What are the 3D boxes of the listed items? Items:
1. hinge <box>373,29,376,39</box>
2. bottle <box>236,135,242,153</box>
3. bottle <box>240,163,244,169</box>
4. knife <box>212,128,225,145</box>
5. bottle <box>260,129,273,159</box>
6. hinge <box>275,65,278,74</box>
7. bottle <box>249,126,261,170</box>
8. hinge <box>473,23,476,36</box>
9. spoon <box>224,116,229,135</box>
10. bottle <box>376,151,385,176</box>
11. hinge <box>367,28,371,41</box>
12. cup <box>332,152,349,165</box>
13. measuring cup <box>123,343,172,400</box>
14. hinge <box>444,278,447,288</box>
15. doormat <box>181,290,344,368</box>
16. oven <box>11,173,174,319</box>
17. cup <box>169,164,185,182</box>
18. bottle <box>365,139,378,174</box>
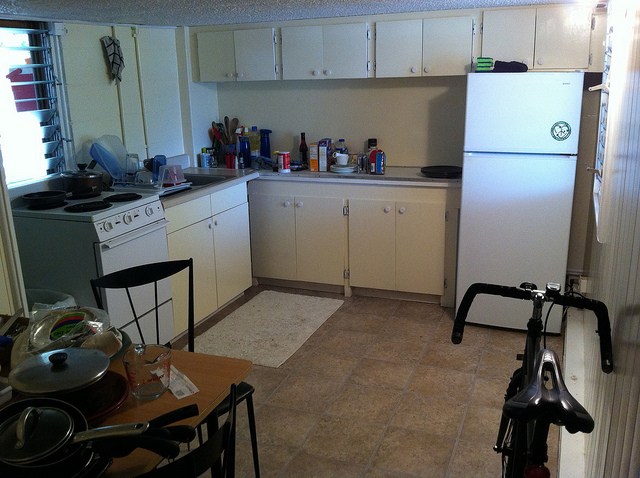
[{"bbox_3d":[0.464,-1.753,4.067,0.006,0.075,0.029,-15,23,-34],"label":"hinge"},{"bbox_3d":[-0.830,-0.988,4.888,0.064,0.175,0.251,-6,20,-13],"label":"bottle"},{"bbox_3d":[-0.770,-0.725,4.678,0.038,0.049,0.094,-5,20,-9],"label":"bottle"},{"bbox_3d":[-1.033,-1.049,4.846,0.044,0.193,0.028,-34,-9,41],"label":"knife"},{"bbox_3d":[-0.542,-0.962,4.800,0.099,0.286,0.165,1,19,7],"label":"bottle"},{"bbox_3d":[-0.405,-1.568,4.388,0.027,0.071,0.015,-6,20,-12],"label":"hinge"},{"bbox_3d":[-0.662,-0.939,4.811,0.119,0.379,0.174,-4,19,-6],"label":"bottle"},{"bbox_3d":[1.234,-1.686,3.819,0.024,0.088,0.013,2,19,11],"label":"hinge"},{"bbox_3d":[-0.965,-1.170,4.899,0.041,0.185,0.027,1,1,0],"label":"spoon"},{"bbox_3d":[0.530,-0.669,4.225,0.111,0.294,0.185,1,12,7],"label":"bottle"},{"bbox_3d":[0.416,-1.758,4.086,0.016,0.066,0.068,-1,11,13],"label":"hinge"},{"bbox_3d":[0.189,-0.733,4.381,0.130,0.094,0.087,4,12,28],"label":"cup"},{"bbox_3d":[-0.650,0.502,1.817,0.176,0.171,0.221,-3,3,-17],"label":"measuring cup"},{"bbox_3d":[1.078,0.383,4.114,0.012,0.050,0.034,3,0,-26],"label":"hinge"},{"bbox_3d":[-0.425,0.705,3.989,0.830,0.029,1.211,9,22,26],"label":"doormat"},{"bbox_3d":[-1.585,0.251,3.426,0.919,1.048,0.946,-3,12,-9],"label":"oven"},{"bbox_3d":[-1.135,-0.520,3.781,0.066,0.129,0.133,12,23,33],"label":"cup"},{"bbox_3d":[0.463,-0.772,4.389,0.102,0.267,0.390,1,20,8],"label":"bottle"}]
